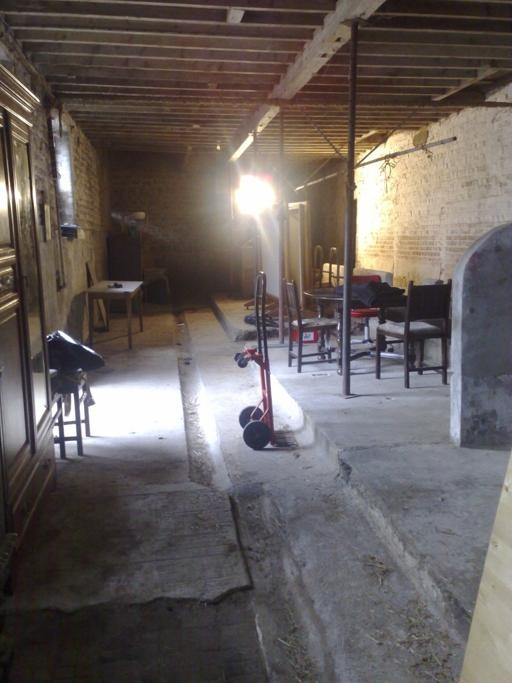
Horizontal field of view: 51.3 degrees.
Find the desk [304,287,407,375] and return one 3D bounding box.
[{"bbox_3d":[1.121,-0.292,5.945,0.995,0.830,0.970,-8,18,-22],"label":"desk"}]

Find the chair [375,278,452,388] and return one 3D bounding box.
[{"bbox_3d":[1.539,-0.126,5.211,0.696,0.948,1.324,6,10,20],"label":"chair"}]

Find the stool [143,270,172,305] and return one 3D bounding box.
[{"bbox_3d":[-2.324,-1.303,12.642,0.662,0.946,0.665,-2,14,-12],"label":"stool"}]

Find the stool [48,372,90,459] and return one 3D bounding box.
[{"bbox_3d":[-1.243,0.419,3.535,0.226,0.427,0.250,-1,-11,-35],"label":"stool"}]
